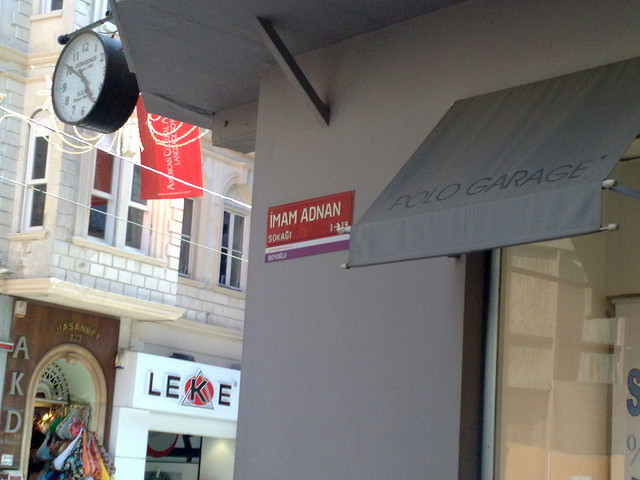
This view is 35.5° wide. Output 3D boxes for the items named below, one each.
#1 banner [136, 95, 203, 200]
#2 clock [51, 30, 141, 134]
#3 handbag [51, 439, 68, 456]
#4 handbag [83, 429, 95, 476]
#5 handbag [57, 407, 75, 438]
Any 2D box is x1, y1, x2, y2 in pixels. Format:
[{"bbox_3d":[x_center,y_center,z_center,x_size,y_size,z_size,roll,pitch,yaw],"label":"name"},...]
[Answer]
[{"bbox_3d":[-2.552,-1.575,16.998,1.055,0.008,2.142,1,-45,-4],"label":"banner"},{"bbox_3d":[-2.463,-1.718,10.950,0.887,1.017,0.401,-11,-17,35],"label":"clock"},{"bbox_3d":[-4.569,3.650,17.611,0.177,0.262,0.071,8,-37,45],"label":"handbag"},{"bbox_3d":[-4.009,3.697,17.421,0.251,0.756,0.377,6,-14,-15],"label":"handbag"},{"bbox_3d":[-4.469,3.256,17.750,0.141,0.382,0.288,16,-27,-6],"label":"handbag"}]
